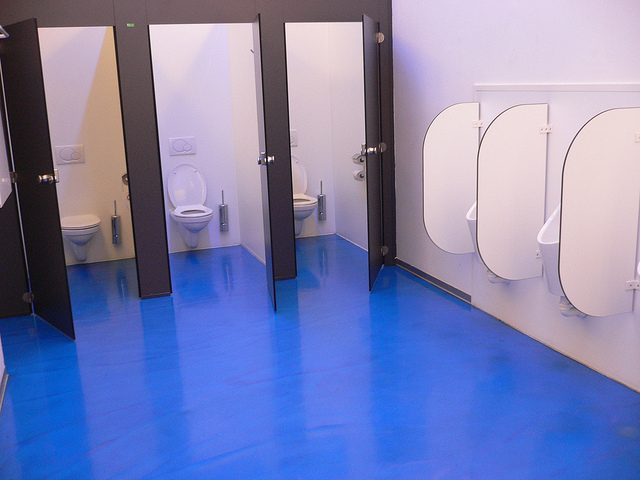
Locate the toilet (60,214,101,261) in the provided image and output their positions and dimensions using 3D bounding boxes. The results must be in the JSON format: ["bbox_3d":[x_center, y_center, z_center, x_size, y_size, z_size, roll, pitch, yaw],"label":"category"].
[{"bbox_3d":[-2.599,-0.011,5.708,0.435,0.478,0.515,-4,10,-13],"label":"toilet"}]

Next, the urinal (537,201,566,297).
[{"bbox_3d":[1.448,0.058,3.181,0.165,0.615,0.351,1,20,10],"label":"urinal"}]

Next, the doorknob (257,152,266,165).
[{"bbox_3d":[-0.492,-0.686,4.340,0.102,0.111,0.110,4,10,15],"label":"doorknob"}]

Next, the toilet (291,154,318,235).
[{"bbox_3d":[-0.246,-0.499,6.009,0.377,0.870,0.437,-5,16,-24],"label":"toilet"}]

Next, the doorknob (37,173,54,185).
[{"bbox_3d":[-2.024,-0.451,3.772,0.184,0.080,0.047,12,25,33],"label":"doorknob"}]

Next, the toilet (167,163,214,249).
[{"bbox_3d":[-1.494,-0.368,5.910,0.412,0.922,0.737,-5,12,-22],"label":"toilet"}]

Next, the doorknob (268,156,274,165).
[{"bbox_3d":[-0.404,-0.675,4.319,0.074,0.072,0.045,-1,4,-39],"label":"doorknob"}]
